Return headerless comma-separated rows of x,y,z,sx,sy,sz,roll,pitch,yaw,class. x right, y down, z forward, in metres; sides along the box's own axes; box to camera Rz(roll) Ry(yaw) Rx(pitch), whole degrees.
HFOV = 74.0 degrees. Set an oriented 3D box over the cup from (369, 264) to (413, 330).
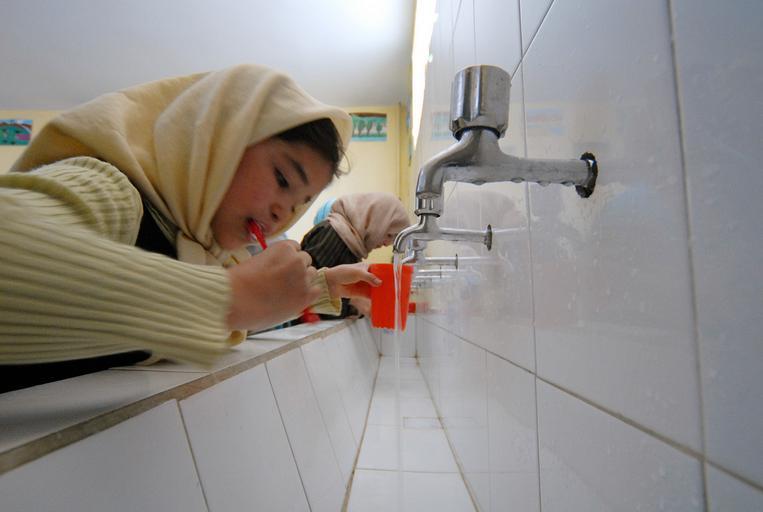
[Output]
0.022,0.119,1.416,0.163,0.205,0.168,0,-10,0,cup
